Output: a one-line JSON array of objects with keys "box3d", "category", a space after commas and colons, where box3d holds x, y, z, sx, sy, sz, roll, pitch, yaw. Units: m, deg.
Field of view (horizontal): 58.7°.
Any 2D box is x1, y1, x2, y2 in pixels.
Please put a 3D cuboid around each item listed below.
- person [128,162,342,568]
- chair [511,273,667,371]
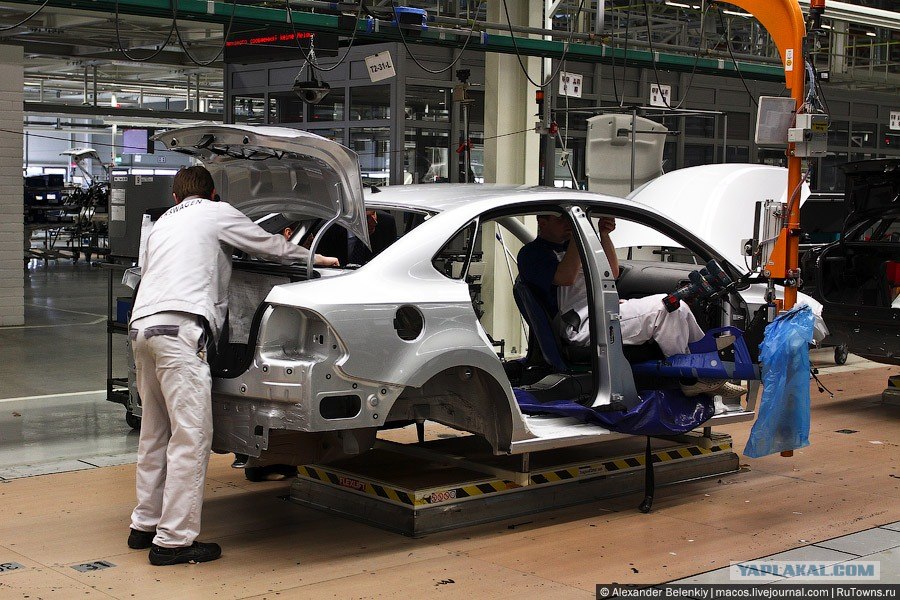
[{"box3d": [-1.700, 0.485, 5.146, 0.693, 2.268, 0.777, 5, 8, 26], "category": "person"}, {"box3d": [1.107, 0.285, 6.519, 1.152, 0.629, 0.705, 7, 9, 6], "category": "chair"}]
